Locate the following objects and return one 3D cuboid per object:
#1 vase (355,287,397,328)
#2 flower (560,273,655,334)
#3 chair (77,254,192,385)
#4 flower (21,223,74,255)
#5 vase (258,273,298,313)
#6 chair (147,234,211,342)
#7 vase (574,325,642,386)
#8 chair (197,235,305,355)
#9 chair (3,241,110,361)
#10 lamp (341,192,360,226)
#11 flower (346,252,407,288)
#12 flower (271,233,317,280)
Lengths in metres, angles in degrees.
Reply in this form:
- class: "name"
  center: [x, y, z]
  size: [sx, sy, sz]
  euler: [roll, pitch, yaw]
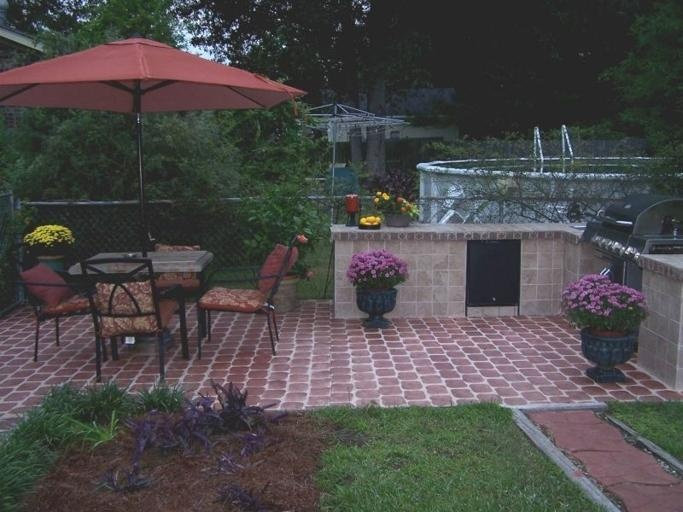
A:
- class: "vase"
  center: [0.451, 0.663, 7.924]
  size: [0.500, 0.465, 0.509]
  euler: [-3, -1, -24]
- class: "flower"
  center: [2.704, 0.535, 6.169]
  size: [0.669, 0.499, 0.611]
  euler: [-9, 5, -39]
- class: "chair"
  center: [-2.133, 0.552, 6.559]
  size: [1.052, 1.787, 1.247]
  euler: [0, 8, 1]
- class: "flower"
  center: [-4.078, -0.208, 8.645]
  size: [0.497, 0.315, 0.485]
  euler: [0, 5, -12]
- class: "vase"
  center: [-0.860, 0.501, 8.752]
  size: [0.448, 0.472, 0.424]
  euler: [-5, 7, -45]
- class: "chair"
  center: [-2.037, 0.296, 7.901]
  size: [0.771, 1.147, 0.884]
  euler: [3, 20, -2]
- class: "vase"
  center: [2.687, 1.008, 6.258]
  size: [0.522, 0.438, 0.530]
  euler: [1, -2, -5]
- class: "chair"
  center: [-1.072, 0.397, 7.451]
  size: [1.268, 1.512, 1.171]
  euler: [2, 5, -3]
- class: "chair"
  center: [-3.402, 0.335, 7.297]
  size: [1.066, 1.692, 1.213]
  euler: [-3, 17, -13]
- class: "lamp"
  center: [0.154, -0.630, 8.558]
  size: [0.170, 0.408, 0.347]
  euler: [-1, 10, -1]
- class: "flower"
  center: [0.468, 0.168, 7.856]
  size: [0.650, 0.547, 0.736]
  euler: [-9, -2, -28]
- class: "flower"
  center: [-0.483, -0.008, 7.366]
  size: [0.610, 0.623, 0.377]
  euler: [-1, 0, -25]
